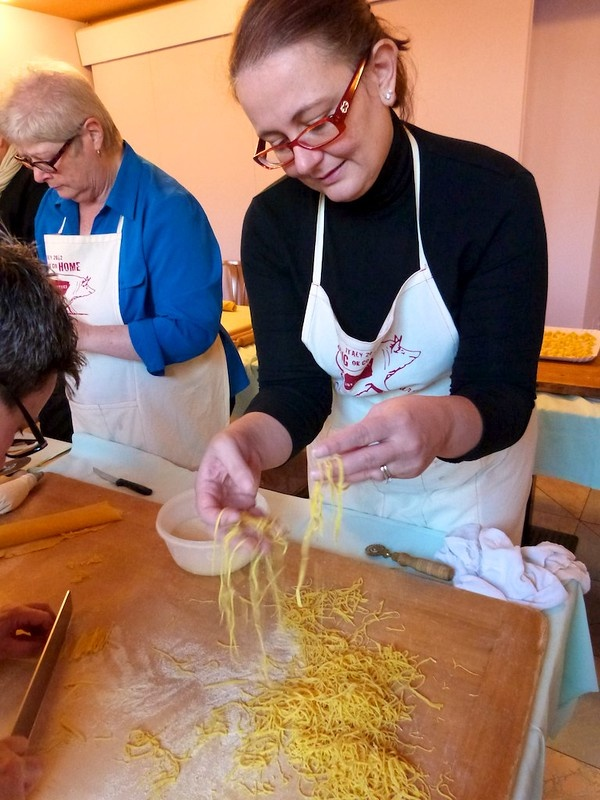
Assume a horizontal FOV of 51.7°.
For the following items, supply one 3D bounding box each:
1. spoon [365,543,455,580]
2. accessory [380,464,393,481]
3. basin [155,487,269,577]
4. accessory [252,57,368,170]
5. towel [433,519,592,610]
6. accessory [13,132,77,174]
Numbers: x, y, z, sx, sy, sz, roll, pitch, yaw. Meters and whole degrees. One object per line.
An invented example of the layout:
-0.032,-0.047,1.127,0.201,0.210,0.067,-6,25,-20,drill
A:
0.217,0.328,1.294,0.203,0.035,0.057,5,29,47,spoon
0.142,0.118,1.038,0.024,0.029,0.011,-12,40,-16,accessory
-0.188,0.274,1.306,0.204,0.071,0.193,-1,24,0,basin
0.021,-0.427,1.006,0.158,0.049,0.161,19,72,52,accessory
0.407,0.320,1.211,0.262,0.076,0.186,8,35,26,towel
-0.720,-0.697,1.786,0.131,0.040,0.133,27,83,35,accessory
